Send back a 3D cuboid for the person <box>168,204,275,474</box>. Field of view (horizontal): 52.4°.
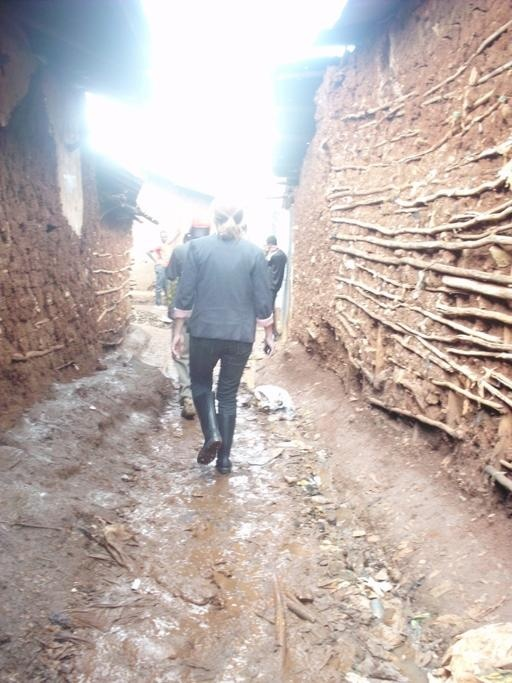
[{"bbox_3d":[-0.260,-0.010,3.396,0.590,1.747,0.561,13,10,18],"label":"person"}]
